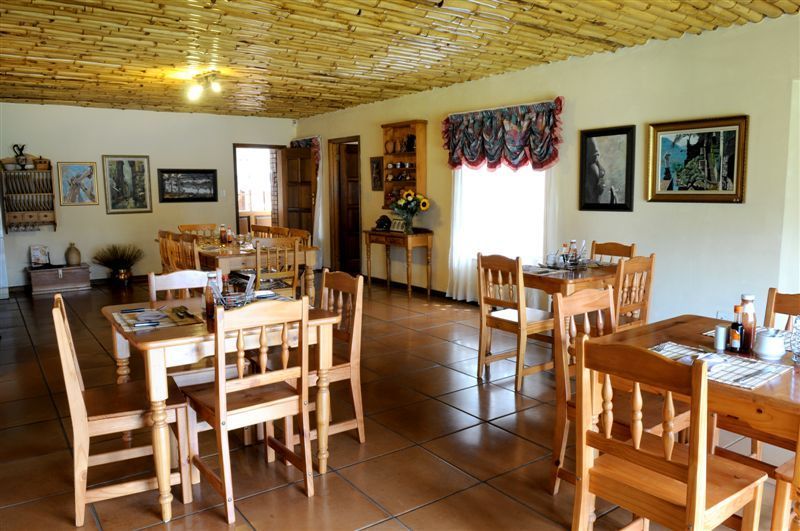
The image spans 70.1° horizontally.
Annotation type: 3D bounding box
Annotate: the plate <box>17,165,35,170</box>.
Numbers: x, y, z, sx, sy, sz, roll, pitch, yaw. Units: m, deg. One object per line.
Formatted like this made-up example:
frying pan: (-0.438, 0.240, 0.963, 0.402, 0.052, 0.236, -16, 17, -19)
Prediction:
plate: (-6.008, -1.609, 9.189, 0.120, 0.114, 0.121, 8, 13, 19)

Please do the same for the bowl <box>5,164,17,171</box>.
bowl: (-6.204, -1.585, 9.072, 0.153, 0.115, 0.176, -1, 10, 7)

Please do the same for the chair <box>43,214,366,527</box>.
chair: (-1.293, 0.719, 4.319, 2.172, 1.390, 1.386, -7, 11, -34)

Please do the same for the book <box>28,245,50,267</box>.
book: (-6.030, -0.173, 9.500, 0.347, 0.453, 0.055, -6, -8, -37)

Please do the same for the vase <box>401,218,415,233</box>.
vase: (0.160, -0.632, 8.747, 0.200, 0.226, 0.202, 7, 12, 28)

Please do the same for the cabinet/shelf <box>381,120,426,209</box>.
cabinet/shelf: (0.080, -1.743, 8.936, 0.723, 1.192, 0.270, 7, -2, 44)

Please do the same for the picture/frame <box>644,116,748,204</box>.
picture/frame: (3.156, -1.127, 5.981, 0.973, 0.957, 0.076, 6, 9, 42)

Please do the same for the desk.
desk: (-0.033, -0.149, 9.119, 0.509, 0.949, 1.311, -6, 10, -34)

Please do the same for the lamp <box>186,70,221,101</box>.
lamp: (-2.675, -2.514, 7.759, 0.595, 0.177, 0.555, -11, 5, -19)

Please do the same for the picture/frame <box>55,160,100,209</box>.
picture/frame: (-5.552, -1.431, 9.752, 0.825, 1.053, 0.043, -6, 7, -40)

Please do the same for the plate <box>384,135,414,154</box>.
plate: (-0.015, -1.922, 8.941, 0.219, 0.236, 0.587, -3, 9, -25)

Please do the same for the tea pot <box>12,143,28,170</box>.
tea pot: (-6.126, -1.766, 9.198, 0.183, 0.408, 0.296, -9, 12, -32)

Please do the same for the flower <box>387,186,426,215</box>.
flower: (0.130, -0.980, 8.758, 0.659, 0.403, 0.474, 4, 12, 33)

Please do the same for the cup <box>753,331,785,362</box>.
cup: (2.272, 0.482, 3.527, 0.175, 0.163, 0.170, 0, 4, 0)
